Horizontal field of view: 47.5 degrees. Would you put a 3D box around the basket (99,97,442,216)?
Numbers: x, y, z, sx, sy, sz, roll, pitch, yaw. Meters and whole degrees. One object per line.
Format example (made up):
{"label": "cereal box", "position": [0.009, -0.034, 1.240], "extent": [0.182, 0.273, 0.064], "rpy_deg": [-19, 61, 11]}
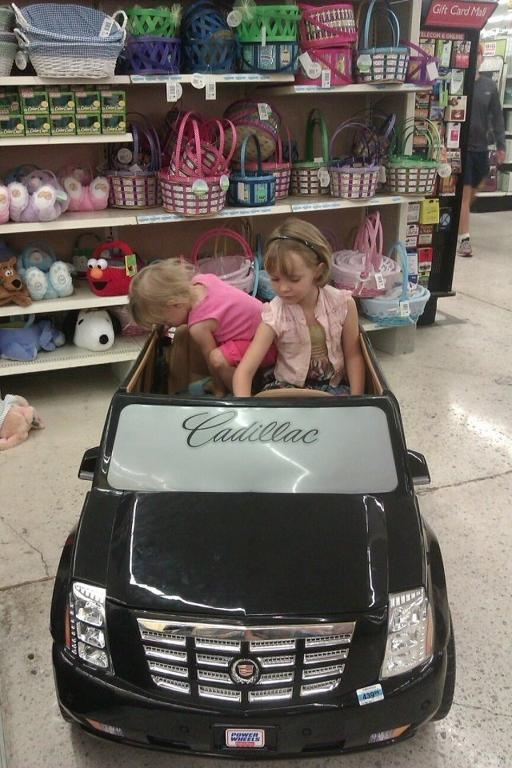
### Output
{"label": "basket", "position": [0.088, -1.179, 3.112], "extent": [1.694, 0.493, 0.649], "rpy_deg": [-11, 25, -24]}

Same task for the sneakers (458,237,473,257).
{"label": "sneakers", "position": [2.136, -1.400, 5.949], "extent": [0.106, 0.109, 0.252], "rpy_deg": [1, 30, 8]}

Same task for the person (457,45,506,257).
{"label": "person", "position": [2.380, -2.308, 6.068], "extent": [0.396, 1.753, 1.580], "rpy_deg": [7, 24, 17]}
